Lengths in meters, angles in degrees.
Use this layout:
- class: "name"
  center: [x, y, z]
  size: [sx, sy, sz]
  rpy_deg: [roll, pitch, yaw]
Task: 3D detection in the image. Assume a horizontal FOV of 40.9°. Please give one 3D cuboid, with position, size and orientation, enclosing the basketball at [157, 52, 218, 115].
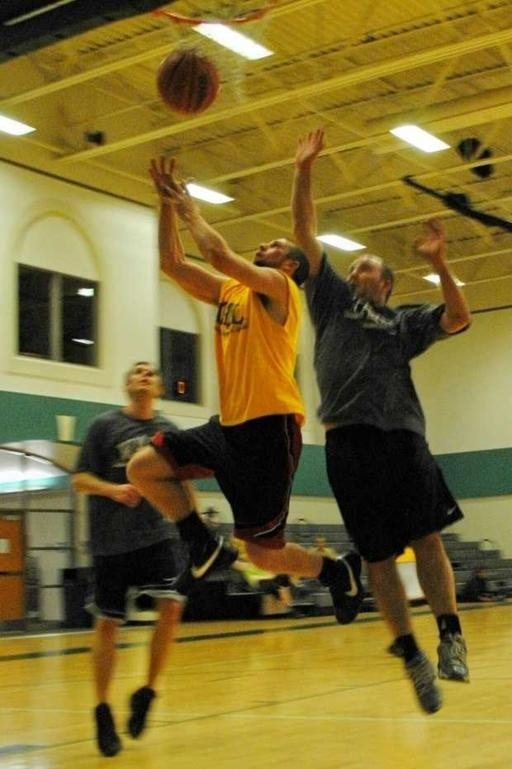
- class: "basketball"
  center: [-0.145, -0.712, 1.680]
  size: [0.151, 0.148, 0.154]
  rpy_deg: [2, 4, 5]

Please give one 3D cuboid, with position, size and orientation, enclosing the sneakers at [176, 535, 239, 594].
- class: "sneakers"
  center: [-0.121, 0.456, 1.725]
  size: [0.153, 0.160, 0.166]
  rpy_deg: [-2, -2, -4]

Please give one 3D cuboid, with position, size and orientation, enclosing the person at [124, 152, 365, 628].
- class: "person"
  center: [-0.065, 0.000, 1.831]
  size: [0.409, 1.172, 0.567]
  rpy_deg: [-3, -2, 17]

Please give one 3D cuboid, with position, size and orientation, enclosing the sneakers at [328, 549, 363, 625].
- class: "sneakers"
  center: [0.253, 0.616, 2.116]
  size: [0.087, 0.234, 0.115]
  rpy_deg: [15, 21, 43]

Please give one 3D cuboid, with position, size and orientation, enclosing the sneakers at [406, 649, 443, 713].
- class: "sneakers"
  center: [0.390, 0.696, 1.593]
  size: [0.071, 0.106, 0.136]
  rpy_deg: [-2, -2, 3]
